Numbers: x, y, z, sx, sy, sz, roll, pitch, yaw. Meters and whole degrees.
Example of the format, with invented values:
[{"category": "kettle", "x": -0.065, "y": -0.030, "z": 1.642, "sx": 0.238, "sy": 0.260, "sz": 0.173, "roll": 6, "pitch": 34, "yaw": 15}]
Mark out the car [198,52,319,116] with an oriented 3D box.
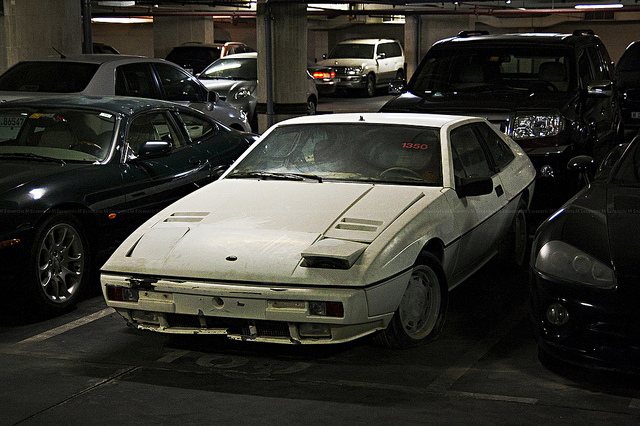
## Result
[{"category": "car", "x": -3.149, "y": -4.538, "z": 17.747, "sx": 2.560, "sy": 1.770, "sz": 4.201, "roll": 4, "pitch": 6, "yaw": 31}]
